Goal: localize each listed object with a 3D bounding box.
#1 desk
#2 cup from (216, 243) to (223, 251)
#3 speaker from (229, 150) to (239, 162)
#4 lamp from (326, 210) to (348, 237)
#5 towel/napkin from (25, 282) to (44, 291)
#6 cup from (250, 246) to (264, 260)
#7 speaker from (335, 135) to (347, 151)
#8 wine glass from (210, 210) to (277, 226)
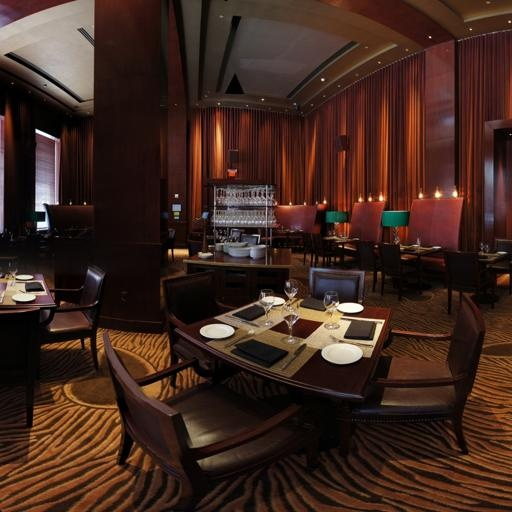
[{"bbox_3d":[-0.094,0.146,4.231,0.651,0.431,0.849,0,4,1],"label":"desk"},{"bbox_3d":[-0.433,-0.112,4.726,0.084,0.069,0.086,0,7,0],"label":"cup"},{"bbox_3d":[-0.539,-2.353,9.601,0.191,0.255,0.142,-2,12,-7],"label":"speaker"},{"bbox_3d":[1.962,-0.807,9.966,0.614,0.691,0.634,5,7,44],"label":"lamp"},{"bbox_3d":[-1.777,0.247,3.284,0.098,0.023,0.102,3,21,-20],"label":"towel/napkin"},{"bbox_3d":[0.008,-0.044,4.226,0.133,0.113,0.138,-2,8,0],"label":"cup"},{"bbox_3d":[2.154,-2.833,10.177,0.274,0.392,0.263,-6,13,-25],"label":"speaker"},{"bbox_3d":[-0.140,-0.417,4.438,0.661,0.196,0.367,0,12,4],"label":"wine glass"}]
